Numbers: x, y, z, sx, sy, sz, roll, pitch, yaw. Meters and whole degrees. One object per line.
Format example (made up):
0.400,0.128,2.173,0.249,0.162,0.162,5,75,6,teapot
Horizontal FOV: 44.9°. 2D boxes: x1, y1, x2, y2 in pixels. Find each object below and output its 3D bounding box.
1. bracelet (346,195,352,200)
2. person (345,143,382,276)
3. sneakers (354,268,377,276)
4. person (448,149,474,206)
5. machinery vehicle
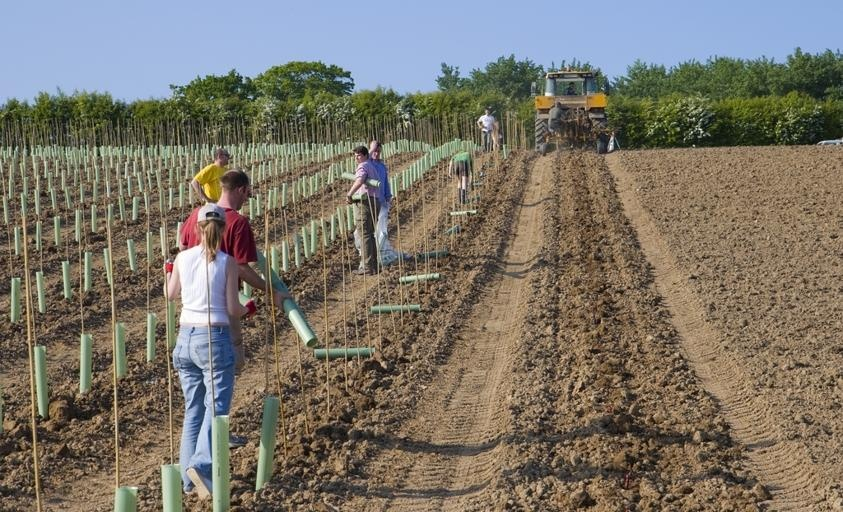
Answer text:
-1.507,-1.174,21.197,0.125,0.069,0.232,-14,2,-4,bracelet
-1.195,-0.893,21.162,0.648,2.678,0.658,-4,8,-4,person
-1.206,0.334,21.585,0.446,0.226,0.179,2,4,9,sneakers
1.001,-1.984,25.807,0.496,1.419,0.418,0,46,6,person
5.222,-4.859,34.984,2.388,3.480,5.082,-1,6,3,machinery vehicle
